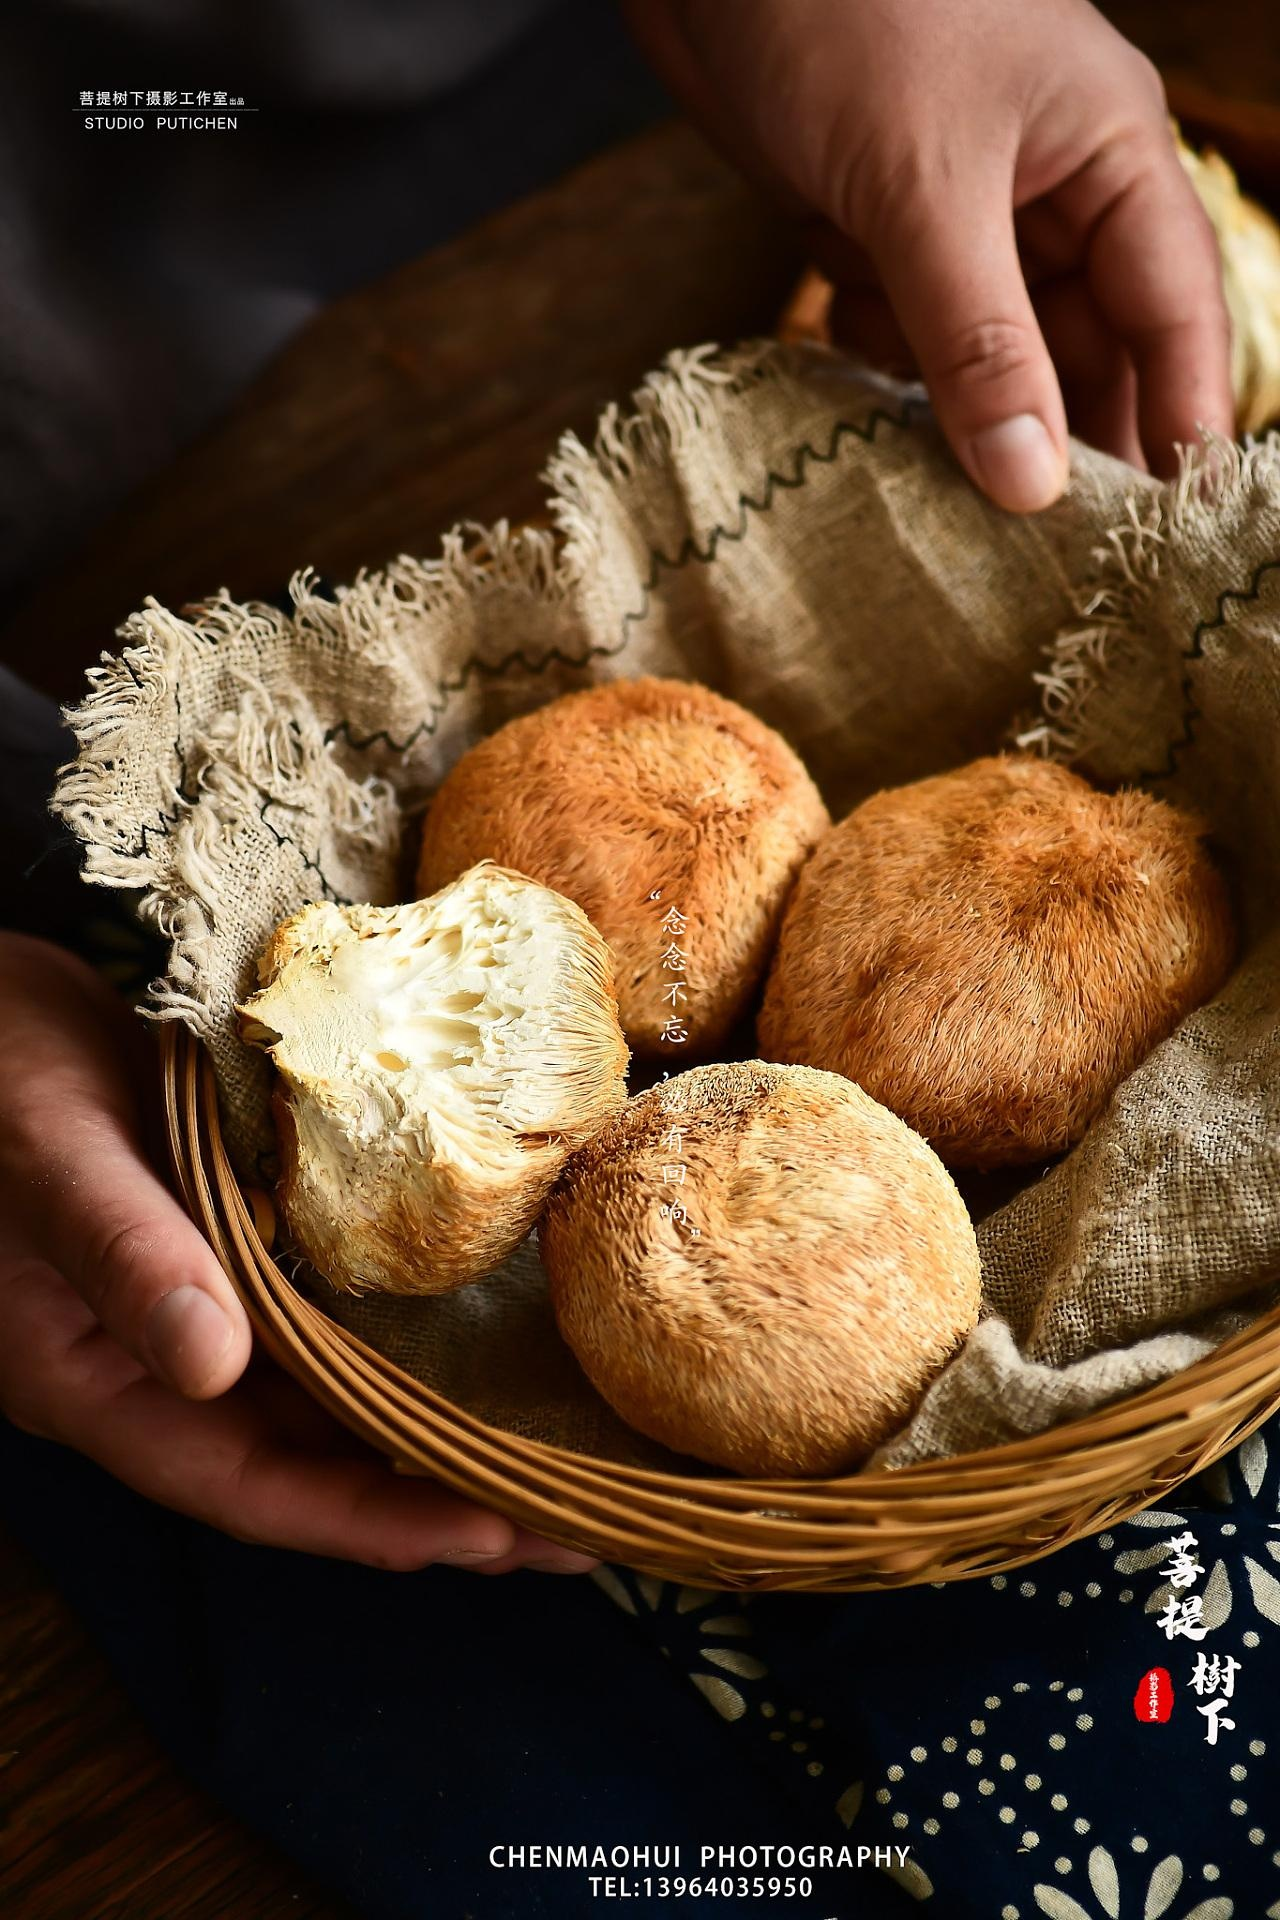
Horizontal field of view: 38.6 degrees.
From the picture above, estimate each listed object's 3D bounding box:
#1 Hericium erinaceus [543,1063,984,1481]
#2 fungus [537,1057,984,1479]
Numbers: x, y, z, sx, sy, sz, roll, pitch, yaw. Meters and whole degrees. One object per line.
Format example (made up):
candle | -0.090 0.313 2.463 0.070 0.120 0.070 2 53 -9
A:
Hericium erinaceus | 0.044 0.102 0.709 0.175 0.106 0.186 -17 44 -12
fungus | 0.045 0.110 0.704 0.177 0.106 0.186 -17 49 -10
